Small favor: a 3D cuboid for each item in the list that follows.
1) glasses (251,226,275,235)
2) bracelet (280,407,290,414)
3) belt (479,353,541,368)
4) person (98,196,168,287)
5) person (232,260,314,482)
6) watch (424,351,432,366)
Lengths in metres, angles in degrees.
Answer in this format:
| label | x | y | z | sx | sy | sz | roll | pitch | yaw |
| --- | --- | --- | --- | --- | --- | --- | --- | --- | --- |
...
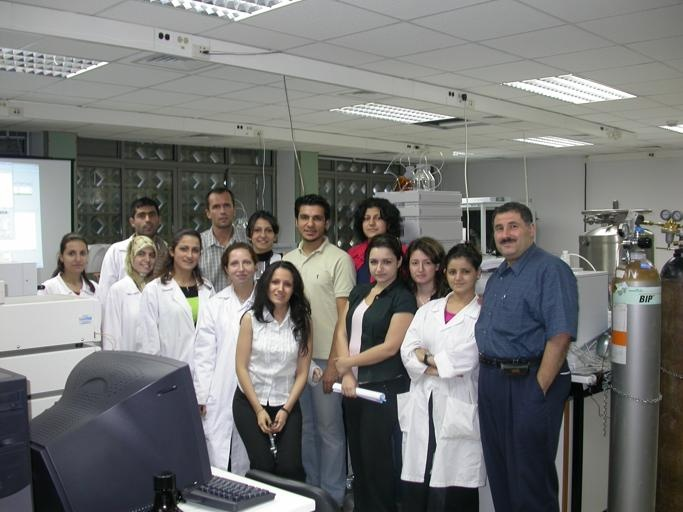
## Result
| label | x | y | z | sx | sy | sz | roll | pitch | yaw |
| --- | --- | --- | --- | --- | --- | --- | --- | --- | --- |
| glasses | -0.485 | -0.168 | 3.466 | 0.129 | 0.038 | 0.035 | -4 | 5 | -26 |
| bracelet | -0.288 | 0.781 | 2.817 | 0.010 | 0.036 | 0.038 | -40 | -9 | -14 |
| belt | 0.805 | 0.503 | 2.637 | 0.278 | 0.065 | 0.080 | 1 | 5 | 21 |
| person | -1.514 | -0.046 | 4.226 | 0.605 | 0.878 | 0.265 | -6 | 15 | -41 |
| person | -0.360 | 0.568 | 2.843 | 0.404 | 1.046 | 0.384 | -2 | 5 | -5 |
| watch | 0.434 | 0.515 | 2.783 | 0.033 | 0.055 | 0.049 | 11 | 29 | 31 |
